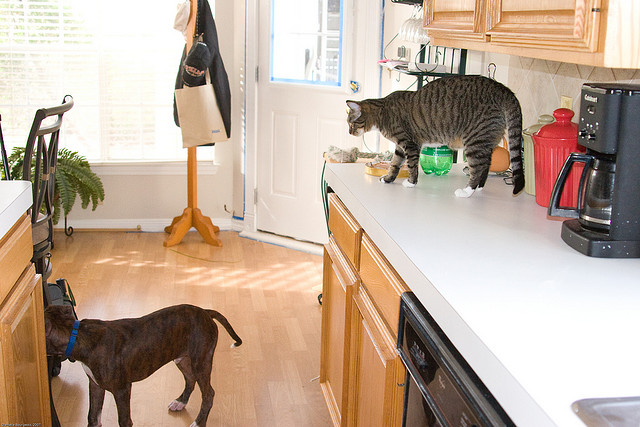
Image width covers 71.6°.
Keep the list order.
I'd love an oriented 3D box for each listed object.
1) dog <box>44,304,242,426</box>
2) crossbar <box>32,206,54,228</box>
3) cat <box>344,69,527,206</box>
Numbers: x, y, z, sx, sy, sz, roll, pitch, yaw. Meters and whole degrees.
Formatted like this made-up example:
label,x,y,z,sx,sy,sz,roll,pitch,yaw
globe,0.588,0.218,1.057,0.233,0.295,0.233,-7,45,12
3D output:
label,x,y,z,sx,sy,sz,roll,pitch,yaw
dog,-0.734,0.570,2.186,0.671,0.575,0.928,-1,23,-9
crossbar,-1.398,0.038,2.221,0.062,0.047,0.173,-5,19,-14
cat,0.537,-0.383,2.013,0.809,0.468,0.631,15,23,39
